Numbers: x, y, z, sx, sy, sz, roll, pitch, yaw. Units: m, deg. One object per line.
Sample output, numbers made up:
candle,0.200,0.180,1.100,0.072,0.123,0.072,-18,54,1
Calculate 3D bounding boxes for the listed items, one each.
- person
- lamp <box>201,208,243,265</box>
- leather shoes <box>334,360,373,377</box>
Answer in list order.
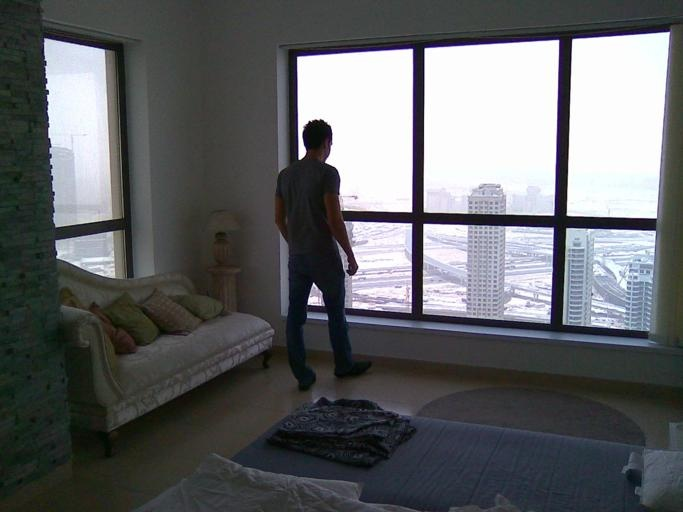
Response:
person,-0.177,0.001,4.857,0.772,2.223,0.524,-1,13,0
lamp,-1.149,-0.169,5.674,0.513,0.665,0.513,1,0,1
leather shoes,0.115,1.017,5.208,0.361,0.144,0.127,-7,11,-19
